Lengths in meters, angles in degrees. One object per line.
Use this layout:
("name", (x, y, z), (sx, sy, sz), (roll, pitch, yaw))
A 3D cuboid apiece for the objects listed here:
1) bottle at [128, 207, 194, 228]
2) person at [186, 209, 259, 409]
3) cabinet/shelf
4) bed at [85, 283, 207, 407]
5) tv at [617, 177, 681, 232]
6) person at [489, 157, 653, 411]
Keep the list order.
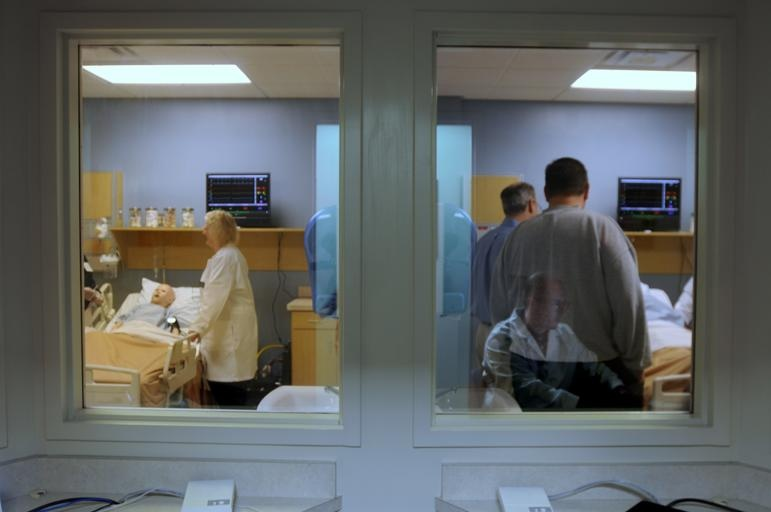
("bottle", (-0.746, -0.132, 2.315), (0.214, 0.069, 0.056), (0, 2, 9))
("person", (-0.576, 0.259, 2.372), (0.271, 0.822, 0.283), (2, 5, -5))
("cabinet/shelf", (-0.223, 0.308, 2.339), (0.233, 0.363, 0.219), (-2, 7, -20))
("bed", (-0.830, 0.316, 2.392), (0.338, 0.195, 0.462), (6, 29, 9))
("tv", (0.865, -0.176, 2.247), (0.180, 0.151, 0.025), (0, 2, 0))
("person", (0.649, 0.305, 2.433), (0.512, 1.254, 0.358), (2, 6, 36))
